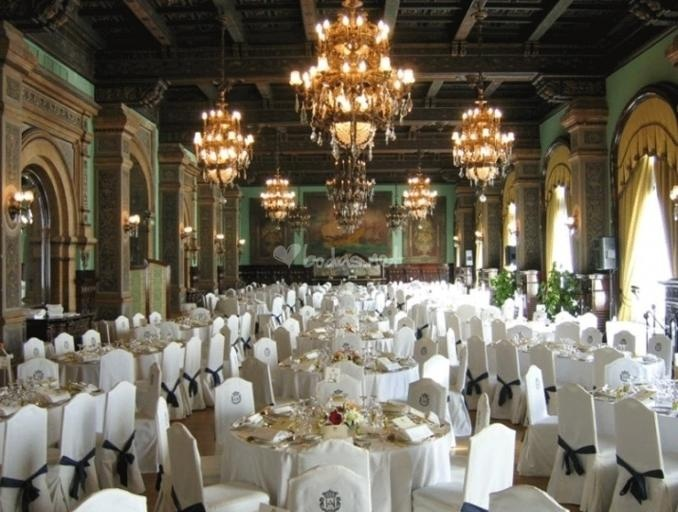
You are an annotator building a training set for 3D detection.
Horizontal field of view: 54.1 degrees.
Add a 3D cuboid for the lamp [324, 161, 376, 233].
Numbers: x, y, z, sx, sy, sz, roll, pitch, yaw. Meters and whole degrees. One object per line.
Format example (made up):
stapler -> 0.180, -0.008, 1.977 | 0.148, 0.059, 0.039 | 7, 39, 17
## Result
lamp -> 0.348, -2.023, 17.671 | 1.174, 2.068, 3.273 | 1, -6, 3
